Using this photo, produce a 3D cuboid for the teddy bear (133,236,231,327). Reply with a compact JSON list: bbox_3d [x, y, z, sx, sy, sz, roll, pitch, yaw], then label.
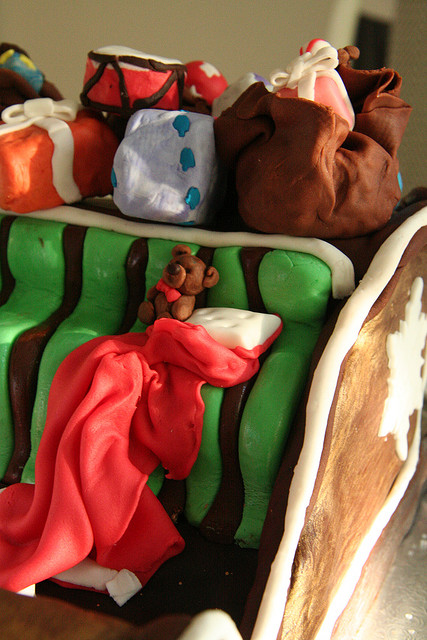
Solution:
[{"bbox_3d":[-0.088,-0.068,1.423,0.134,0.188,0.169,9,24,-32],"label":"teddy bear"}]
